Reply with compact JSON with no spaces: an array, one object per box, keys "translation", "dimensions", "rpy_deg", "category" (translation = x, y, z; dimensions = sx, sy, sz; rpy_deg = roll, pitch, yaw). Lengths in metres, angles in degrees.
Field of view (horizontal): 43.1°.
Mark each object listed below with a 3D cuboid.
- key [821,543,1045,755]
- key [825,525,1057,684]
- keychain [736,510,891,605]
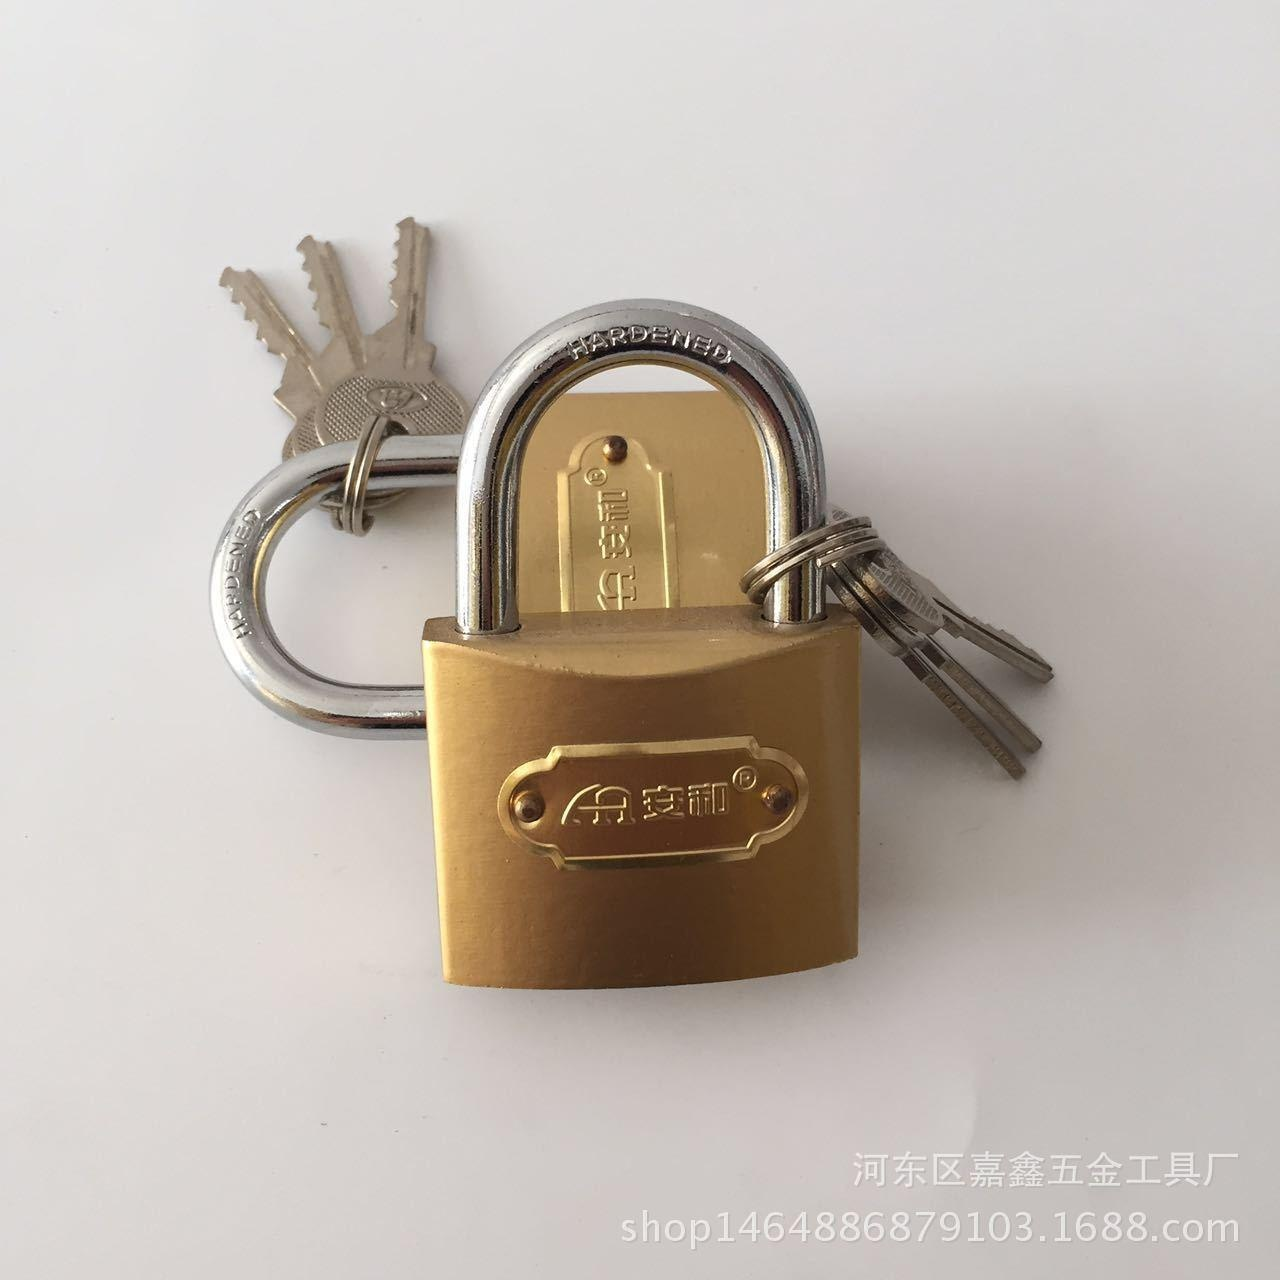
[{"translation":[0.167,0.010,0.935],"dimensions":[0.162,0.059,0.018],"rpy_deg":[24,-44,-38],"category":"key"},{"translation":[0.172,-0.018,0.936],"dimensions":[0.187,0.041,0.013],"rpy_deg":[26,-75,-32],"category":"key"},{"translation":[0.091,-0.046,0.849],"dimensions":[0.058,0.019,0.056],"rpy_deg":[-24,-5,40],"category":"keychain"}]
